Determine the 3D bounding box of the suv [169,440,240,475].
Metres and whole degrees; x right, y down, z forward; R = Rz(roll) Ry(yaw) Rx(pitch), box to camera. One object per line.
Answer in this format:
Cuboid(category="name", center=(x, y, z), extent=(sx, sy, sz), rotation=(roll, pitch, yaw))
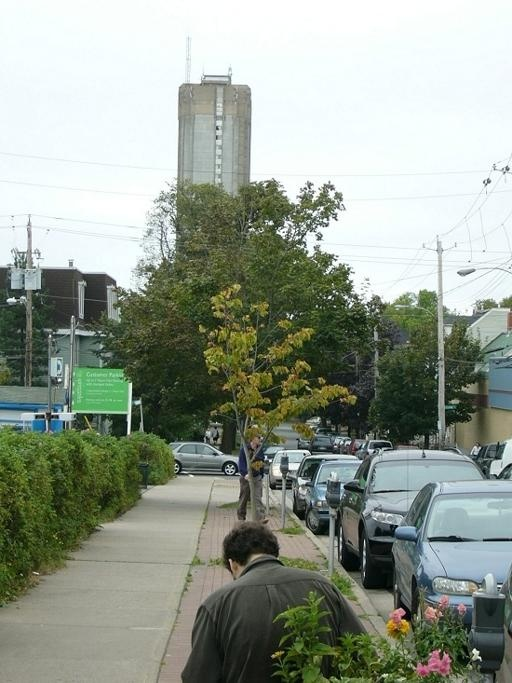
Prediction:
Cuboid(category="suv", center=(-2.210, 4.953, 41.622), extent=(2.937, 1.070, 1.293), rotation=(0, 1, -4))
